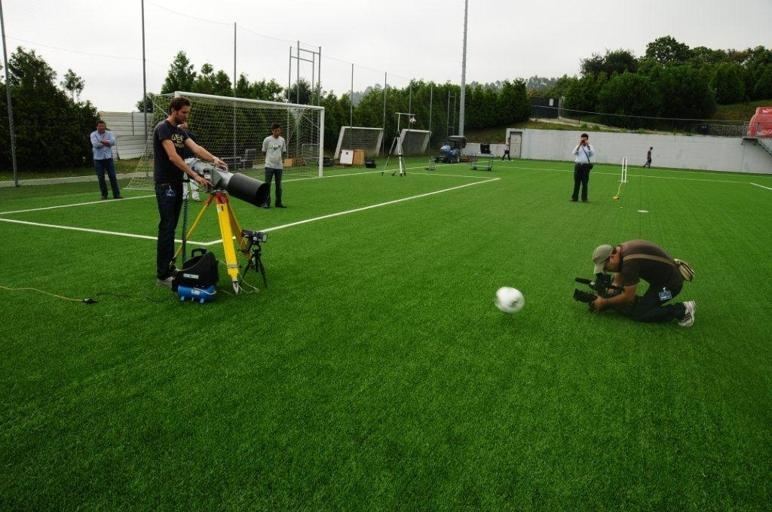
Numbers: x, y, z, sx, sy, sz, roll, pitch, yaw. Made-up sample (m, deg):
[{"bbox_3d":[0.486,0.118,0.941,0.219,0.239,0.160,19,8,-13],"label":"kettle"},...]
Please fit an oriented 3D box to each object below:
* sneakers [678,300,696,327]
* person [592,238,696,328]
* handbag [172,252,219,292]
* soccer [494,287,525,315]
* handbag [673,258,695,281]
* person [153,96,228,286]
[{"bbox_3d":[3.309,0.637,5.659,0.153,0.351,0.115,22,-18,6],"label":"sneakers"},{"bbox_3d":[2.800,0.305,5.543,1.181,1.044,0.767,3,8,24],"label":"person"},{"bbox_3d":[-2.132,0.163,6.022,0.526,0.508,0.398,-1,10,-5],"label":"handbag"},{"bbox_3d":[1.394,0.487,5.690,0.249,0.250,0.301,-8,8,-41],"label":"soccer"},{"bbox_3d":[3.474,0.158,5.982,0.229,0.090,0.192,46,33,7],"label":"handbag"},{"bbox_3d":[-2.445,-0.646,6.222,0.732,1.908,0.828,-11,20,-39],"label":"person"}]
